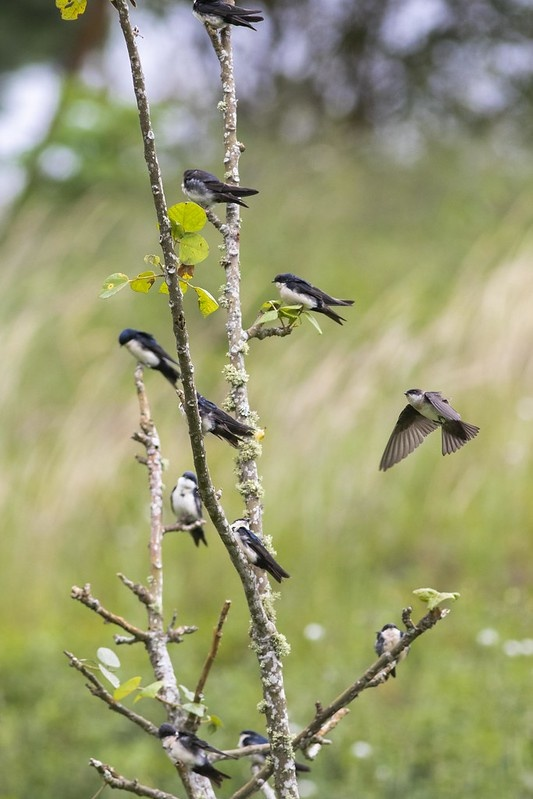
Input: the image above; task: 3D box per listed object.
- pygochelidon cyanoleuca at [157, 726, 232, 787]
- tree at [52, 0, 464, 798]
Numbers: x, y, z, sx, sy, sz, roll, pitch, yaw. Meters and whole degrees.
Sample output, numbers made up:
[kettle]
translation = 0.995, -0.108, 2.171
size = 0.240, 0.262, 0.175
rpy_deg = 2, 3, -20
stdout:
[pygochelidon cyanoleuca]
translation = -0.256, 1.234, 3.702
size = 0.306, 0.118, 0.182
rpy_deg = 27, -39, -16
[tree]
translation = -0.191, -0.123, 3.790
size = 1.149, 2.989, 1.467
rpy_deg = -12, -19, -3
